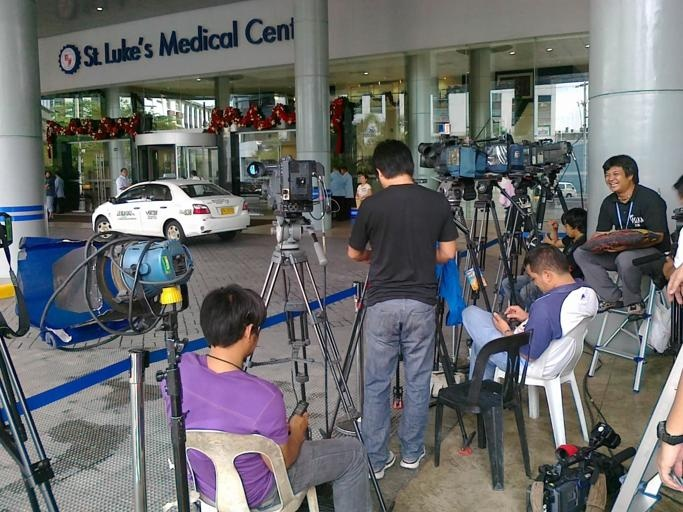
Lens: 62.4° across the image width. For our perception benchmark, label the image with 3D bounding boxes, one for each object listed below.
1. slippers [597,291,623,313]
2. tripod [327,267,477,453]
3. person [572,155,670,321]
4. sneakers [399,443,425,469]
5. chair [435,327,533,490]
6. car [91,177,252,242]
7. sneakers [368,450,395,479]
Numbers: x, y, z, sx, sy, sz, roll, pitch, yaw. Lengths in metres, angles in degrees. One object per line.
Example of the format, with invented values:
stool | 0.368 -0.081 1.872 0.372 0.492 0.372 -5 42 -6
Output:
slippers | 2.700 0.467 5.684 0.298 0.148 0.119 -2 6 25
tripod | 0.393 0.754 4.516 1.054 1.677 1.040 0 -2 -1
person | 2.768 -0.219 5.562 0.489 1.529 0.777 -8 13 -26
sneakers | 0.485 1.380 3.911 0.080 0.114 0.236 5 9 25
chair | 0.945 0.971 3.819 0.656 0.984 0.543 2 12 18
car | -4.231 -1.094 13.446 3.574 1.405 1.240 3 14 24
sneakers | 0.262 1.419 3.789 0.088 0.110 0.261 6 28 23
